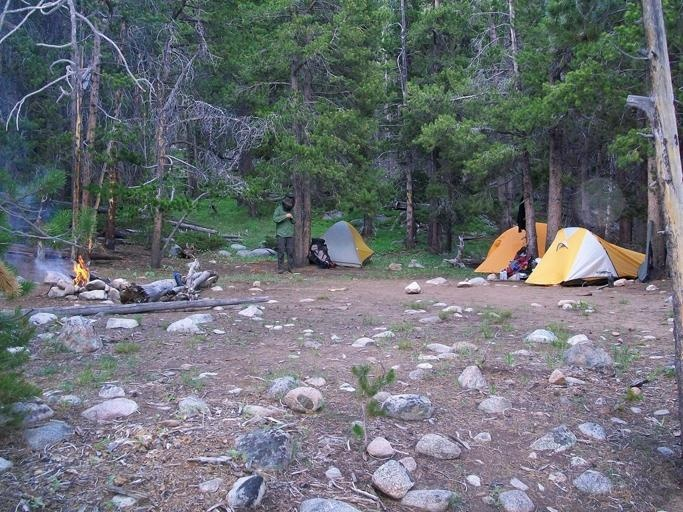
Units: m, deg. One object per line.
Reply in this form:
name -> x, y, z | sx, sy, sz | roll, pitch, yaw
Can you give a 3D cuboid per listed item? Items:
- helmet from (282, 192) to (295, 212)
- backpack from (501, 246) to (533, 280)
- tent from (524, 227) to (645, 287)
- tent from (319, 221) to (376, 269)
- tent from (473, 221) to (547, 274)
helmet -> -1.583, -1.605, 17.854 | 0.333, 0.492, 0.476 | 3, 20, -6
backpack -> 5.205, 0.218, 17.916 | 0.447, 0.791, 0.487 | 7, 32, -29
tent -> 6.229, 0.081, 15.238 | 1.896, 0.818, 1.761 | -4, 3, 0
tent -> 0.237, -0.379, 20.610 | 1.417, 1.020, 1.510 | 1, 4, 20
tent -> 5.244, -0.153, 19.640 | 1.675, 0.730, 1.815 | -3, 6, 0
